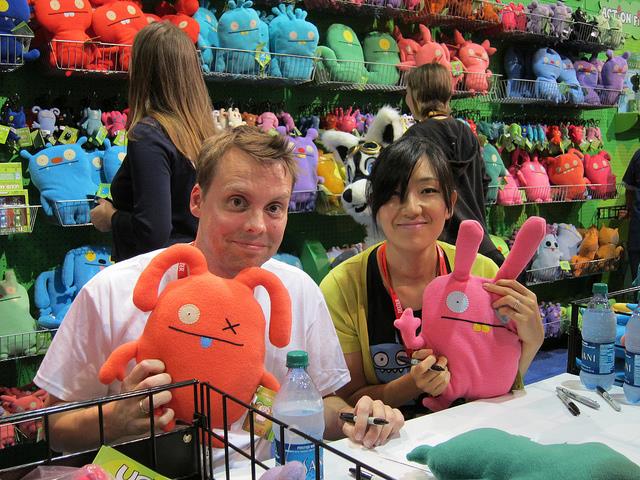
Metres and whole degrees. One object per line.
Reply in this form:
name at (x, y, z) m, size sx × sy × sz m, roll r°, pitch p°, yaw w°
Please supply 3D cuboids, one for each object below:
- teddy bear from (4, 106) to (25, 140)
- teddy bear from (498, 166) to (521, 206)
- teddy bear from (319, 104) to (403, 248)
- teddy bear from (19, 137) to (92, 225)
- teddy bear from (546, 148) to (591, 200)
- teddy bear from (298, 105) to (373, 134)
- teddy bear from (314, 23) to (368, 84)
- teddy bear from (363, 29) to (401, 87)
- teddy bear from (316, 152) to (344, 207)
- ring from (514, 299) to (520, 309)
teddy bear at (-1.554, -0.605, 2.694) m, size 0.107 × 0.169 × 0.175 m, roll -3°, pitch 10°, yaw -19°
teddy bear at (1.569, -0.447, 4.418) m, size 0.188 × 0.350 × 0.141 m, roll -4°, pitch 7°, yaw -5°
teddy bear at (0.307, -0.321, 3.346) m, size 0.572 × 0.913 × 0.513 m, roll -2°, pitch 3°, yaw 38°
teddy bear at (-1.335, -0.285, 2.755) m, size 0.331 × 0.471 × 0.160 m, roll -17°, pitch -11°, yaw -25°
teddy bear at (2.227, -0.593, 4.784) m, size 0.350 × 0.434 × 0.228 m, roll -21°, pitch 0°, yaw -12°
teddy bear at (0.100, -0.810, 3.605) m, size 0.394 × 0.210 × 0.249 m, roll -9°, pitch 11°, yaw -17°
teddy bear at (0.161, -1.232, 3.469) m, size 0.444 × 0.392 × 0.190 m, roll -5°, pitch 11°, yaw -32°
teddy bear at (0.435, -1.262, 3.656) m, size 0.272 × 0.379 × 0.226 m, roll 0°, pitch 9°, yaw -7°
teddy bear at (0.068, -0.372, 3.298) m, size 0.159 × 0.319 × 0.104 m, roll -7°, pitch -3°, yaw 0°
ring at (0.554, 0.182, 1.500) m, size 0.006 × 0.020 × 0.020 m, roll 9°, pitch 9°, yaw 9°
